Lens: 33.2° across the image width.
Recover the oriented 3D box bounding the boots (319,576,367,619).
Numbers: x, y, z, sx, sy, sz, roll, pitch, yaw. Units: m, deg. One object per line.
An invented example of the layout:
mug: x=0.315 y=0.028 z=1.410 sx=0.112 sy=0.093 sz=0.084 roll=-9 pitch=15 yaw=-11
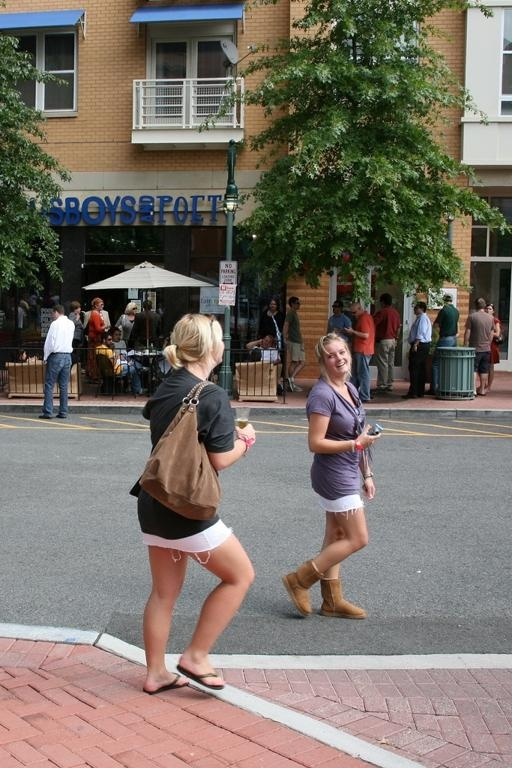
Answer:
boots: x=0.494 y=1.141 z=4.568 sx=0.296 sy=0.253 sz=0.132 roll=0 pitch=1 yaw=-4

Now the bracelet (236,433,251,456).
bracelet: x=-0.032 y=0.232 z=3.319 sx=0.047 sy=0.088 sz=0.068 roll=4 pitch=4 yaw=-20

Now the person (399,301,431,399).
person: x=2.997 y=-0.624 z=15.715 sx=0.405 sy=1.766 sz=0.416 roll=3 pitch=3 yaw=11

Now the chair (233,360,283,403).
chair: x=0.019 y=-0.053 z=15.347 sx=0.674 sy=0.695 sz=0.770 roll=1 pitch=8 yaw=-1

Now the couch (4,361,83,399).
couch: x=-3.982 y=-0.224 z=15.694 sx=1.181 sy=0.770 sz=0.743 roll=1 pitch=10 yaw=-1

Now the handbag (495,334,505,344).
handbag: x=5.378 y=-0.999 z=18.758 sx=0.234 sy=0.307 sz=0.122 roll=-4 pitch=-35 yaw=3

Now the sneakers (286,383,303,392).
sneakers: x=0.825 y=0.060 z=17.293 sx=0.367 sy=0.152 sz=0.129 roll=1 pitch=7 yaw=-30

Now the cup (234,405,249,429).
cup: x=-0.054 y=0.138 z=3.468 sx=0.074 sy=0.109 sz=0.073 roll=1 pitch=8 yaw=0

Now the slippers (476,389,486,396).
slippers: x=4.383 y=0.152 z=16.580 sx=0.089 sy=0.176 sz=0.266 roll=-2 pitch=0 yaw=-12

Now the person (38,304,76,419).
person: x=-3.192 y=-0.343 z=13.618 sx=0.461 sy=1.787 sz=0.797 roll=1 pitch=3 yaw=-13

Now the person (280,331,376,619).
person: x=0.403 y=0.483 z=4.557 sx=0.453 sy=1.492 sz=0.413 roll=2 pitch=3 yaw=5

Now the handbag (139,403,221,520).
handbag: x=-0.261 y=0.276 z=3.017 sx=0.268 sy=0.395 sz=0.190 roll=32 pitch=-32 yaw=-24

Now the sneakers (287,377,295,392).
sneakers: x=0.706 y=0.011 z=17.139 sx=0.129 sy=0.290 sz=0.100 roll=-4 pitch=13 yaw=9

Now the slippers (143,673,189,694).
slippers: x=-0.346 y=1.138 z=3.257 sx=0.165 sy=0.043 sz=0.066 roll=-13 pitch=20 yaw=-32

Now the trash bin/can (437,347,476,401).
trash bin/can: x=3.582 y=-0.182 z=15.300 sx=0.664 sy=0.961 sz=0.687 roll=3 pitch=3 yaw=12

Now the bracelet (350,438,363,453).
bracelet: x=0.522 y=0.313 z=4.412 sx=0.028 sy=0.071 sz=0.052 roll=-11 pitch=5 yaw=7

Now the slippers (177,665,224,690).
slippers: x=-0.225 y=1.124 z=3.270 sx=0.183 sy=0.049 sz=0.083 roll=19 pitch=-7 yaw=30
